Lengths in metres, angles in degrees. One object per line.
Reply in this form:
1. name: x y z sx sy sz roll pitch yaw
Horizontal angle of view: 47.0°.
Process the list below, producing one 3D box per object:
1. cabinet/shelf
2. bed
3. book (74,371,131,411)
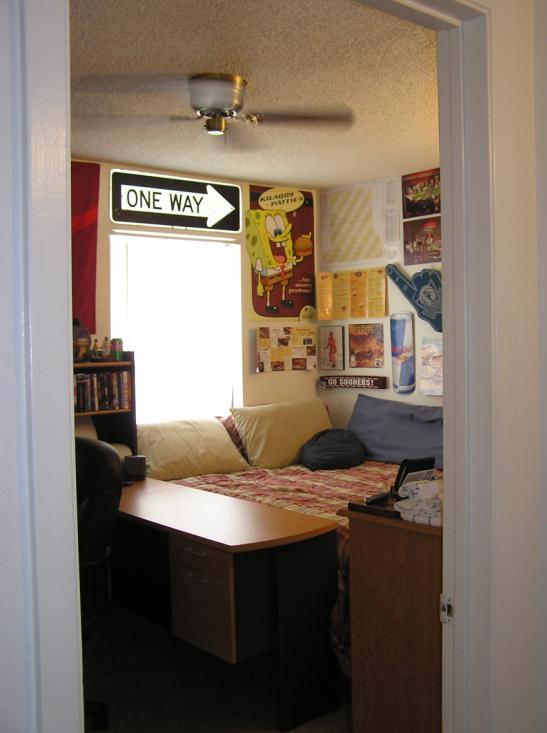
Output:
1. cabinet/shelf: -1.076 0.095 3.932 0.378 0.365 0.211 -2 4 -24
2. bed: 0.140 1.016 4.208 1.202 0.850 1.343 1 3 44
3. book: -1.041 0.153 3.855 0.377 0.251 0.065 0 0 -43
